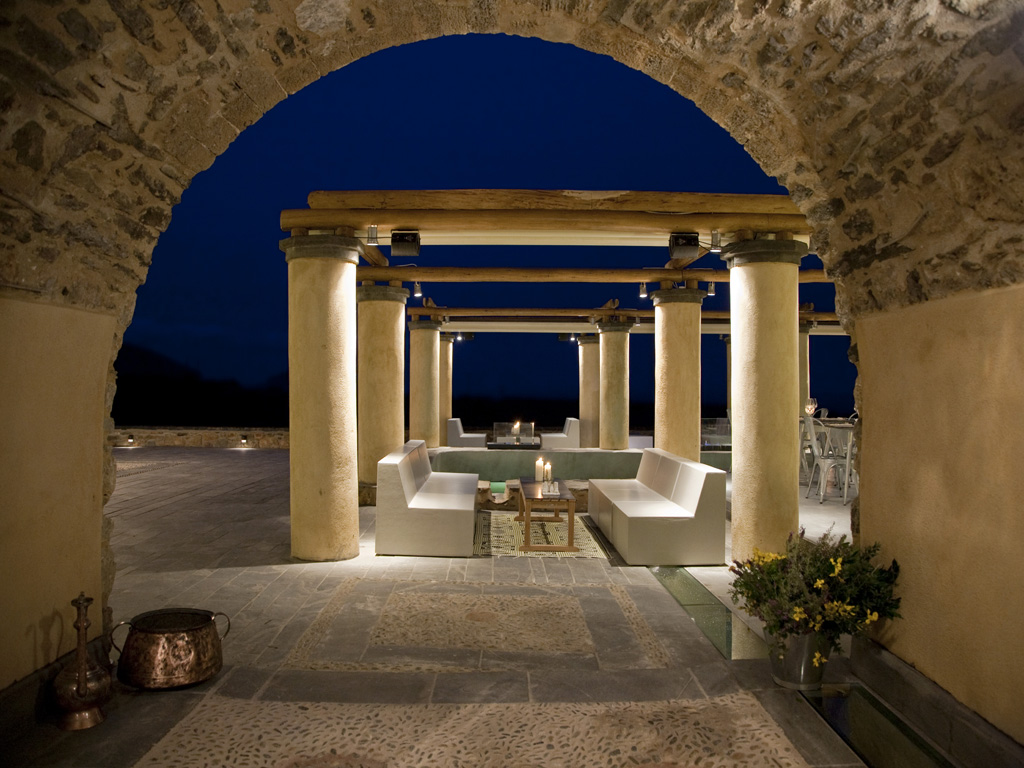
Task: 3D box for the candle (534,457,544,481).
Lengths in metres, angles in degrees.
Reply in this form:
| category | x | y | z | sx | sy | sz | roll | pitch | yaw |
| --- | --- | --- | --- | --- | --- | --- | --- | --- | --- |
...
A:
| category | x | y | z | sx | sy | sz | roll | pitch | yaw |
| --- | --- | --- | --- | --- | --- | --- | --- | --- | --- |
| candle | 0.350 | 1.091 | 8.617 | 0.091 | 0.255 | 0.318 | 2 | -2 | -2 |

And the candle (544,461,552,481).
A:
| category | x | y | z | sx | sy | sz | roll | pitch | yaw |
| --- | --- | --- | --- | --- | --- | --- | --- | --- | --- |
| candle | 0.437 | 1.099 | 8.443 | 0.057 | 0.175 | 0.234 | 2 | -2 | -8 |

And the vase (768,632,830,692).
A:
| category | x | y | z | sx | sy | sz | roll | pitch | yaw |
| --- | --- | --- | --- | --- | --- | --- | --- | --- | --- |
| vase | 1.983 | 1.860 | 4.660 | 0.372 | 0.407 | 0.397 | -2 | -30 | 28 |

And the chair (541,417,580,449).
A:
| category | x | y | z | sx | sy | sz | roll | pitch | yaw |
| --- | --- | --- | --- | --- | --- | --- | --- | --- | --- |
| chair | 1.251 | 1.302 | 16.676 | 0.623 | 0.753 | 1.140 | 2 | -2 | 2 |

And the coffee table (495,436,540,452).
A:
| category | x | y | z | sx | sy | sz | roll | pitch | yaw |
| --- | --- | --- | --- | --- | --- | --- | --- | --- | --- |
| coffee table | 0.037 | 1.209 | 14.349 | 1.007 | 0.228 | 1.690 | 2 | -2 | -2 |

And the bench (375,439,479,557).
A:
| category | x | y | z | sx | sy | sz | roll | pitch | yaw |
| --- | --- | --- | --- | --- | --- | --- | --- | --- | --- |
| bench | -0.969 | 1.295 | 8.372 | 1.046 | 1.019 | 2.065 | 1 | 4 | -1 |

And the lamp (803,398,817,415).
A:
| category | x | y | z | sx | sy | sz | roll | pitch | yaw |
| --- | --- | --- | --- | --- | --- | --- | --- | --- | --- |
| lamp | 5.573 | 0.409 | 12.760 | 0.306 | 0.388 | 0.117 | 17 | -13 | -30 |

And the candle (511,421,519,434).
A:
| category | x | y | z | sx | sy | sz | roll | pitch | yaw |
| --- | --- | --- | --- | --- | --- | --- | --- | --- | --- |
| candle | 0.080 | 0.960 | 14.940 | 0.188 | 0.278 | 0.294 | 2 | -2 | -14 |

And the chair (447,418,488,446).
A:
| category | x | y | z | sx | sy | sz | roll | pitch | yaw |
| --- | --- | --- | --- | --- | --- | --- | --- | --- | --- |
| chair | -1.148 | 1.157 | 16.565 | 0.702 | 0.435 | 0.728 | -1 | -1 | -2 |

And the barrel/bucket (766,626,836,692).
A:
| category | x | y | z | sx | sy | sz | roll | pitch | yaw |
| --- | --- | --- | --- | --- | --- | --- | --- | --- | --- |
| barrel/bucket | 1.966 | 1.815 | 4.585 | 0.419 | 0.403 | 0.410 | 2 | -1 | 0 |

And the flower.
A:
| category | x | y | z | sx | sy | sz | roll | pitch | yaw |
| --- | --- | --- | --- | --- | --- | --- | --- | --- | --- |
| flower | 1.970 | 1.416 | 4.421 | 0.964 | 0.884 | 0.381 | 1 | -2 | 26 |

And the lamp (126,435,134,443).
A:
| category | x | y | z | sx | sy | sz | roll | pitch | yaw |
| --- | --- | --- | --- | --- | --- | --- | --- | --- | --- |
| lamp | -10.292 | 1.482 | 18.333 | 0.174 | 0.162 | 0.185 | 4 | 4 | 35 |

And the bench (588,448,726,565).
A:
| category | x | y | z | sx | sy | sz | roll | pitch | yaw |
| --- | --- | --- | --- | --- | --- | --- | --- | --- | --- |
| bench | 1.685 | 1.450 | 8.555 | 0.986 | 1.059 | 2.857 | 3 | -1 | -2 |

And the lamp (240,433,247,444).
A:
| category | x | y | z | sx | sy | sz | roll | pitch | yaw |
| --- | --- | --- | --- | --- | --- | --- | --- | --- | --- |
| lamp | -7.436 | 1.497 | 18.809 | 0.254 | 0.274 | 0.079 | 1 | -2 | 23 |
